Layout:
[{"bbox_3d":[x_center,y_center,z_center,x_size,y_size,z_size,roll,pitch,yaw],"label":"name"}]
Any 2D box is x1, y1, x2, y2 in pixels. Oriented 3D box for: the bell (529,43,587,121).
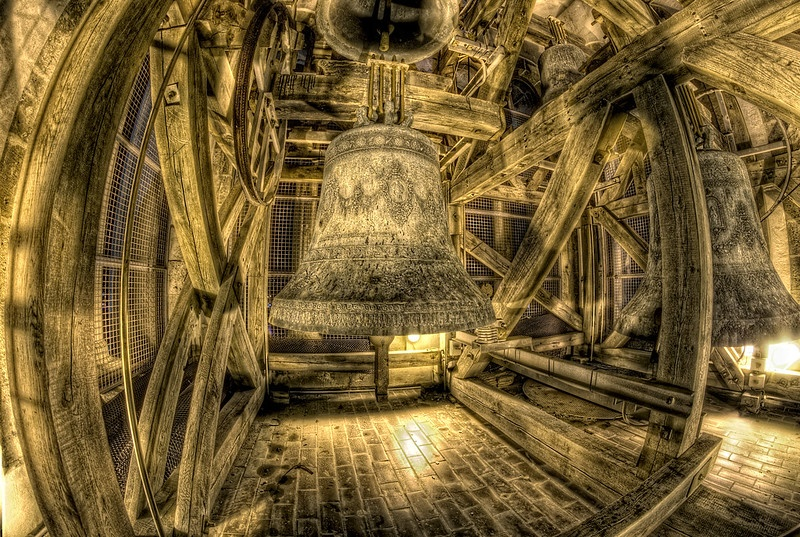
[{"bbox_3d":[1.729,-2.128,5.640,0.448,0.712,0.816,3,12,14],"label":"bell"}]
